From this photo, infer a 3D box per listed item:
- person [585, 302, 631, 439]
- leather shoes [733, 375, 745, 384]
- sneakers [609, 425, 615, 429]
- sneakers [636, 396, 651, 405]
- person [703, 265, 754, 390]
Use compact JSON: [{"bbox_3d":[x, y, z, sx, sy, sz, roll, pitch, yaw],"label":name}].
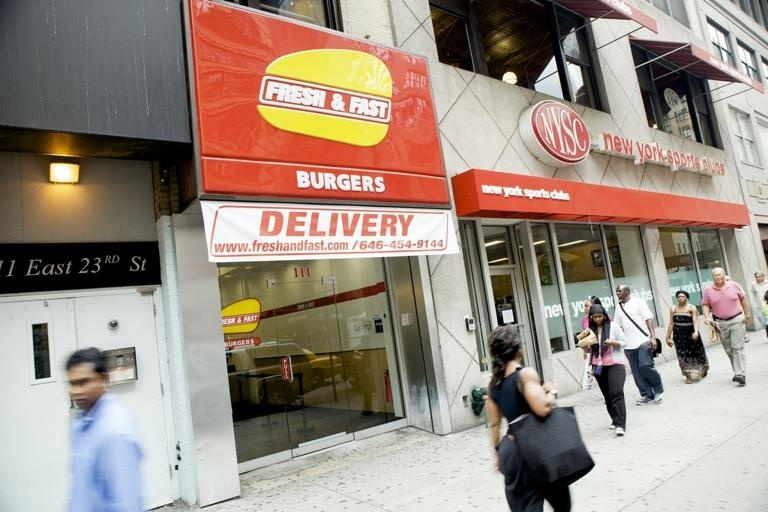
[{"bbox_3d":[3.677,1.838,9.311,0.665,2.206,0.655,-7,0,-40],"label":"person"},{"bbox_3d":[6.725,2.326,10.530,0.194,0.204,0.247,-7,0,28],"label":"leather shoes"},{"bbox_3d":[3.748,2.798,9.145,0.069,0.075,0.189,-5,-12,25],"label":"sneakers"},{"bbox_3d":[4.894,2.716,10.477,0.332,0.131,0.109,1,-10,-24],"label":"sneakers"},{"bbox_3d":[6.728,1.331,10.878,0.746,2.391,0.960,-7,0,21],"label":"person"}]
